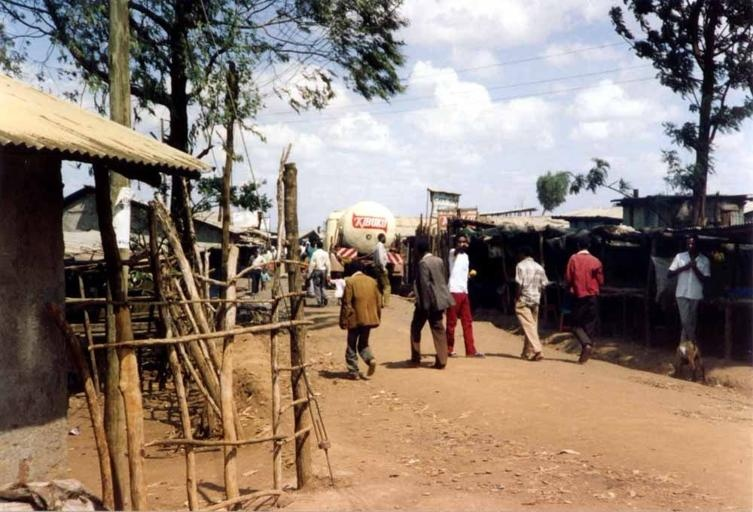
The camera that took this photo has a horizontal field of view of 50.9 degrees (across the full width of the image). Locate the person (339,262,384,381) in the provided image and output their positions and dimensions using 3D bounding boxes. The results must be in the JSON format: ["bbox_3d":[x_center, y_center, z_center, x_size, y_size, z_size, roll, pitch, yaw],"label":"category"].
[{"bbox_3d":[-0.288,1.206,14.730,0.711,2.300,1.259,0,10,-1],"label":"person"}]

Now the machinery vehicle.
[{"bbox_3d":[-0.738,-0.214,25.635,1.888,2.733,5.128,3,-6,-13],"label":"machinery vehicle"}]

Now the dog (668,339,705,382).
[{"bbox_3d":[6.211,2.078,15.992,0.680,0.923,0.775,4,-1,-37],"label":"dog"}]

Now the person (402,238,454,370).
[{"bbox_3d":[1.043,0.959,15.089,0.755,2.435,1.041,1,10,2],"label":"person"}]

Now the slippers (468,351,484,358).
[{"bbox_3d":[2.023,2.022,16.154,0.263,0.194,0.090,-3,11,-14],"label":"slippers"}]

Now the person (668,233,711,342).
[{"bbox_3d":[6.357,0.686,16.160,0.695,2.149,0.387,6,11,27],"label":"person"}]

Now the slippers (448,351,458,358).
[{"bbox_3d":[1.542,2.020,16.187,0.077,0.104,0.239,1,-7,-12],"label":"slippers"}]

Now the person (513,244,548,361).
[{"bbox_3d":[3.102,0.994,15.996,0.594,2.289,0.604,3,10,11],"label":"person"}]

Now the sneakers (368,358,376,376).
[{"bbox_3d":[-0.072,2.057,14.570,0.128,0.356,0.144,5,21,-5],"label":"sneakers"}]

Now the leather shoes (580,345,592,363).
[{"bbox_3d":[4.212,1.991,16.032,0.157,0.462,0.191,9,25,-6],"label":"leather shoes"}]

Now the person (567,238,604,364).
[{"bbox_3d":[4.140,0.962,15.859,0.659,2.492,0.667,-2,10,-12],"label":"person"}]
